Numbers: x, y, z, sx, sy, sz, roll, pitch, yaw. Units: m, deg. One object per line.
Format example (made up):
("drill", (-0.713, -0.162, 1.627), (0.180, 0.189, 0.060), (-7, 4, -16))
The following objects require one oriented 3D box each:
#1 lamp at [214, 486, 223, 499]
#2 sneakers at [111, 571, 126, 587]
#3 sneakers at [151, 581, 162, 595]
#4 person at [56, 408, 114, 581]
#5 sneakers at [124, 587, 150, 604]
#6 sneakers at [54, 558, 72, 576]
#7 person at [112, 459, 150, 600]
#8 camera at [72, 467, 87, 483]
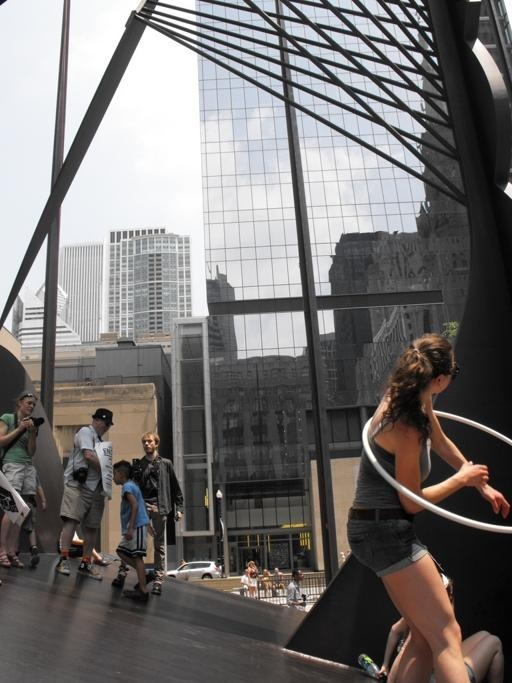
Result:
("lamp", (-2.000, 8.261, 30.557), (0.346, 0.515, 0.164), (-5, -5, 23))
("sneakers", (-1.245, 2.171, 5.170), (0.067, 0.144, 0.206), (15, -7, -8))
("sneakers", (-0.923, 2.300, 5.273), (0.095, 0.117, 0.099), (-30, -39, 33))
("person", (-1.611, 1.440, 5.312), (0.523, 1.593, 0.651), (-1, -10, -20))
("sneakers", (-0.994, 2.135, 4.737), (0.203, 0.095, 0.114), (17, -25, 9))
("sneakers", (-1.791, 2.098, 5.275), (0.089, 0.159, 0.247), (23, -31, -31))
("person", (-1.094, 1.659, 4.954), (0.317, 1.204, 0.647), (-2, -10, -15))
("camera", (-1.611, 1.229, 5.166), (0.123, 0.149, 0.082), (-1, -10, -19))
